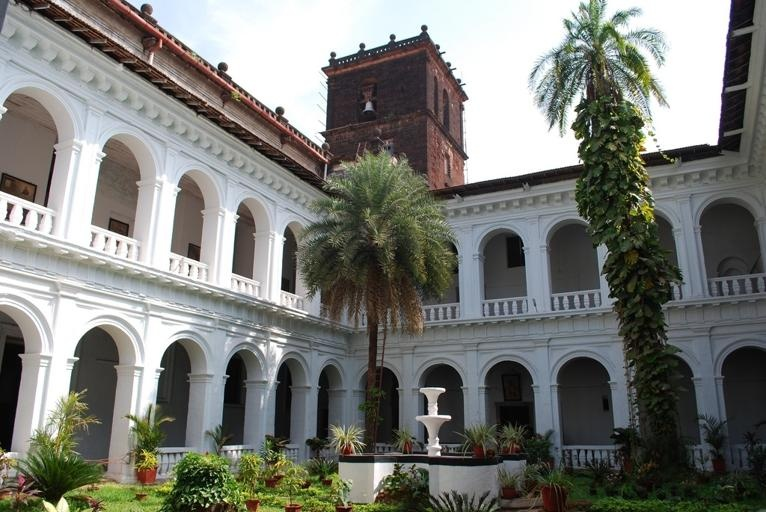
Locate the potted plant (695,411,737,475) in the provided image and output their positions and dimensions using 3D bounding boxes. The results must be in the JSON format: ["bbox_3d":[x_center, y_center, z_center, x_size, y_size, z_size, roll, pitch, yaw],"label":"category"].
[{"bbox_3d":[11.946,6.639,20.623,0.858,1.958,1.273,-11,-22,26],"label":"potted plant"}]

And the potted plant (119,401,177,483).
[{"bbox_3d":[-7.291,5.708,17.674,1.159,2.392,1.038,17,-27,-42],"label":"potted plant"}]
